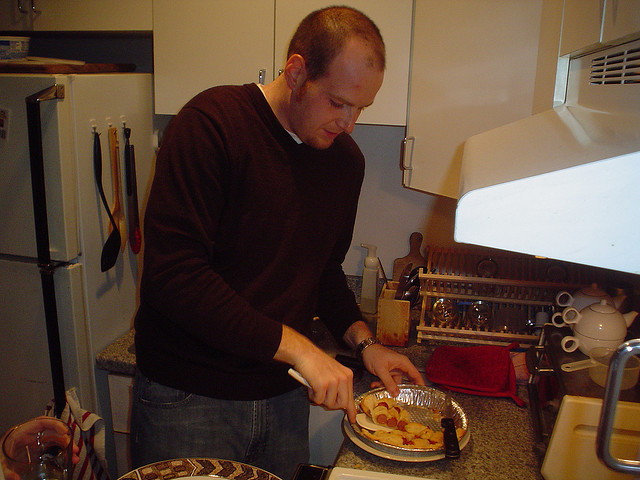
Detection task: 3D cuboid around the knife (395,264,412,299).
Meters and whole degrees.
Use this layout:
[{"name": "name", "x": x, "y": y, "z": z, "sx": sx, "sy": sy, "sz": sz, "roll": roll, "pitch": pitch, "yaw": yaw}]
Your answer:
[{"name": "knife", "x": 0.346, "y": 0.169, "z": 2.067, "sx": 0.014, "sy": 0.016, "sz": 0.150, "roll": 10, "pitch": 53, "yaw": 19}]

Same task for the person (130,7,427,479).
[{"name": "person", "x": -0.107, "y": 0.075, "z": 1.303, "sx": 0.719, "sy": 1.333, "sz": 0.526, "roll": -1, "pitch": 9, "yaw": -25}]

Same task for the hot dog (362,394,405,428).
[{"name": "hot dog", "x": 0.175, "y": 0.464, "z": 1.389, "sx": 0.062, "sy": 0.034, "sz": 0.074, "roll": -4, "pitch": 12, "yaw": -16}]

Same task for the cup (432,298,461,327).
[{"name": "cup", "x": 0.484, "y": 0.272, "z": 1.956, "sx": 0.098, "sy": 0.101, "sz": 0.100, "roll": -10, "pitch": 27, "yaw": 5}]
